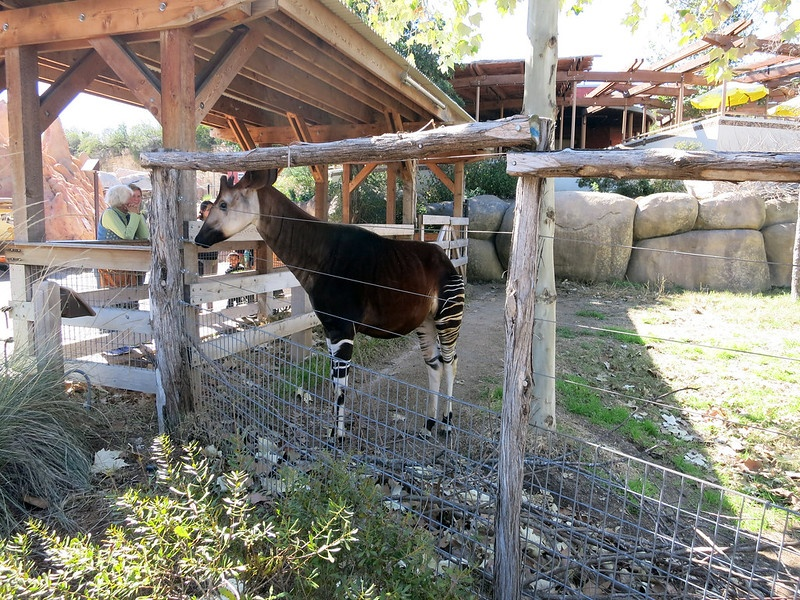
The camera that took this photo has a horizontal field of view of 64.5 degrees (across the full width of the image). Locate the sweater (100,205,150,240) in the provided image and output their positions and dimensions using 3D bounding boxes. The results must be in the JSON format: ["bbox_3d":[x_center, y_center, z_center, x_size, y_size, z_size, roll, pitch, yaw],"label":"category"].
[{"bbox_3d":[-3.096,-0.908,7.210,0.405,0.509,0.369,6,11,8],"label":"sweater"}]
